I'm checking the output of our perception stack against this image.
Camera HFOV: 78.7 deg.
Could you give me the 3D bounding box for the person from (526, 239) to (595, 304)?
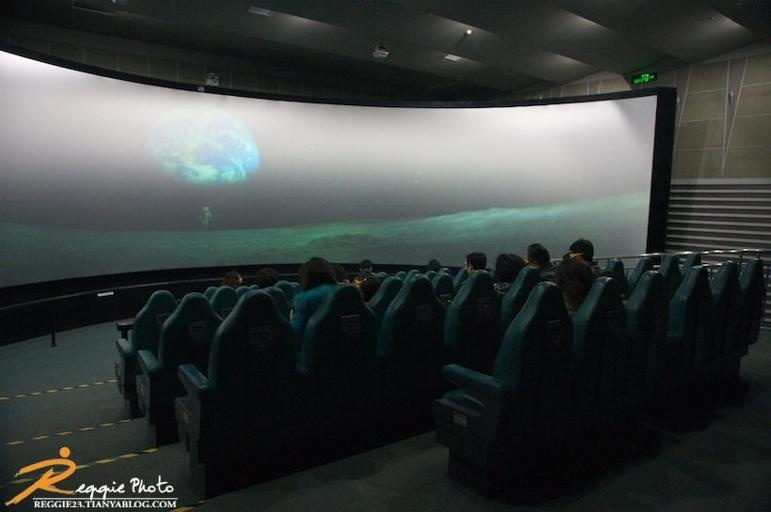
[{"bbox_3d":[1.823,0.164,4.608,0.770,0.494,0.357,-11,3,-39],"label":"person"}]
